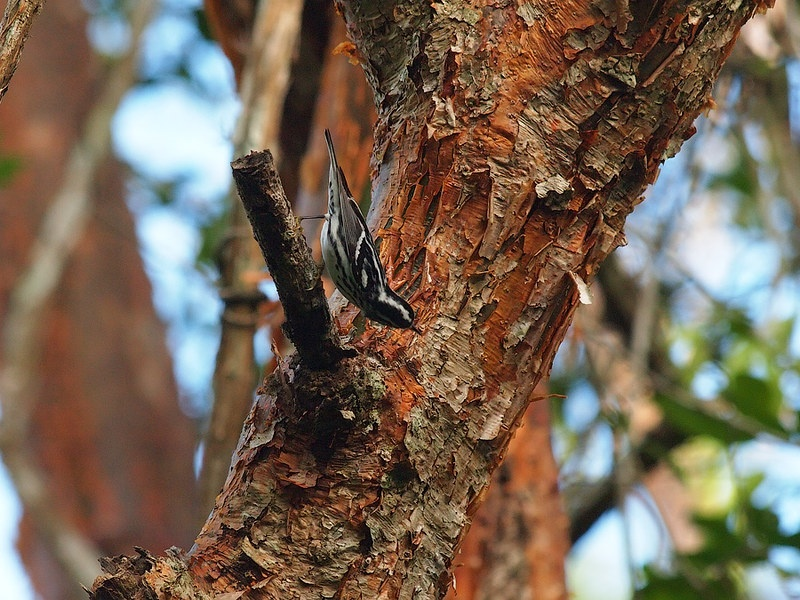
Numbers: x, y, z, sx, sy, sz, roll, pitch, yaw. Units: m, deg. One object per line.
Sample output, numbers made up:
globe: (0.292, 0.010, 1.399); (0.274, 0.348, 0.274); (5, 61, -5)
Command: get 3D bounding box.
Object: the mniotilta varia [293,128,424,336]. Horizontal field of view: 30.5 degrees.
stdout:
mniotilta varia: (-0.228, -0.312, 7.303); (0.374, 0.311, 1.171); (-9, 69, -2)
